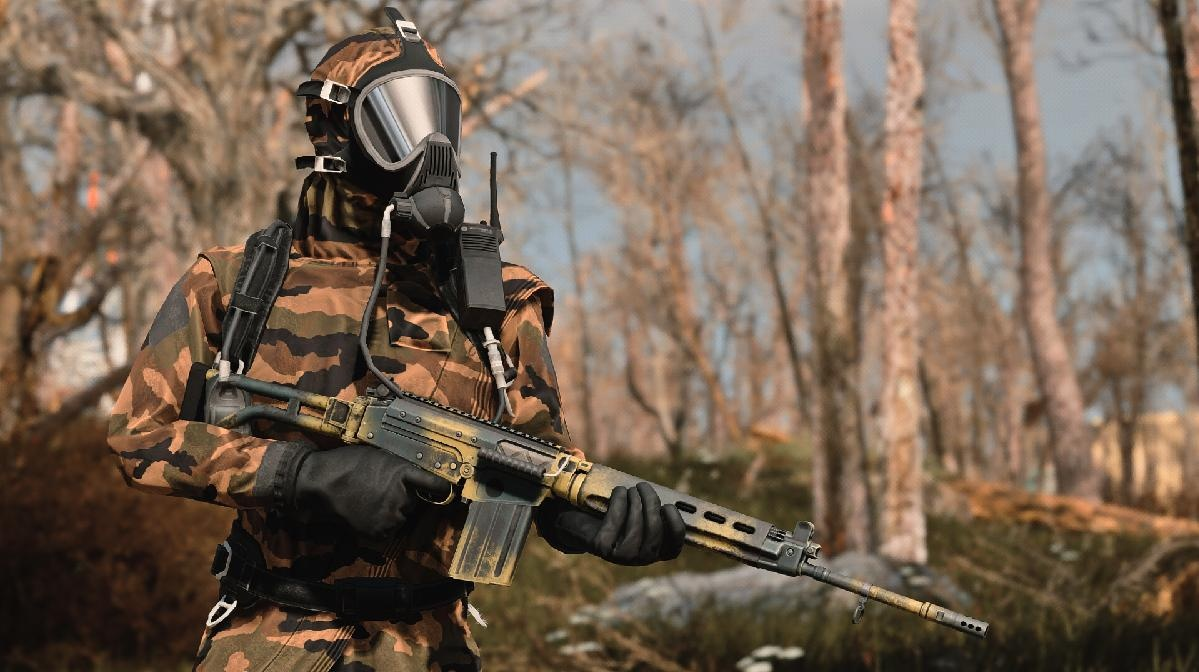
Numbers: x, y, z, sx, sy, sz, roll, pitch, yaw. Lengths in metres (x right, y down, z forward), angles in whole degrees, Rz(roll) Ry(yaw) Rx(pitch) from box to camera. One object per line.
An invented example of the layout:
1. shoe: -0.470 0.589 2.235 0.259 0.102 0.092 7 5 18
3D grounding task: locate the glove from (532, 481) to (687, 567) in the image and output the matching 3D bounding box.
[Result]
1. glove: 0.126 1.620 18.303 1.253 0.684 0.331 0 -15 4

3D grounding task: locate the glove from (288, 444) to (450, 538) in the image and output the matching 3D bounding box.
1. glove: -1.960 1.332 18.206 1.274 0.750 0.199 0 -15 2

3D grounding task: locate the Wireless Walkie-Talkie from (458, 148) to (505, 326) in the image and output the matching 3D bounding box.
1. Wireless Walkie-Talkie: -1.003 -0.787 18.622 0.335 1.675 0.347 2 3 -2

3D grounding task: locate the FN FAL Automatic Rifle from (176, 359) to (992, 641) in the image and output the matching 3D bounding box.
1. FN FAL Automatic Rifle: 0.071 1.571 19.842 6.572 1.991 0.736 17 -9 3
